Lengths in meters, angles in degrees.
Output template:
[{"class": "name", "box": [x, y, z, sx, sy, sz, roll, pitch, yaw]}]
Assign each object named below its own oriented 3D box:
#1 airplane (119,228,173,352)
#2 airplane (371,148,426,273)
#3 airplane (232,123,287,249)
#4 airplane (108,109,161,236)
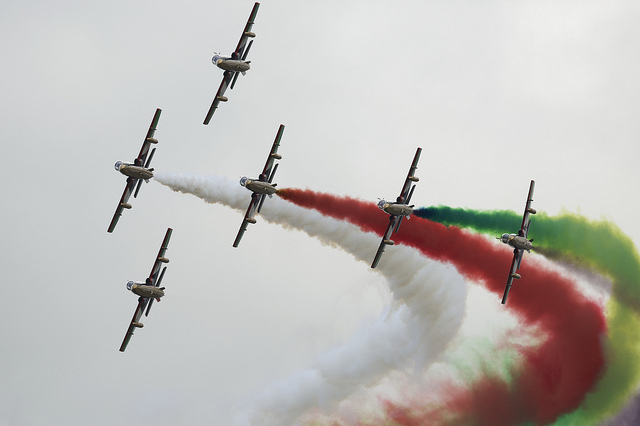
[{"class": "airplane", "box": [-19.428, 8.020, 98.020, 4.093, 14.123, 6.381, 25, -12, -22]}, {"class": "airplane", "box": [8.443, 0.517, 96.844, 8.262, 14.114, 5.593, 3, -2, -27]}, {"class": "airplane", "box": [-6.407, -2.697, 93.999, 7.855, 16.012, 5.810, 3, -3, -36]}, {"class": "airplane", "box": [-19.627, -4.157, 94.881, 3.292, 13.850, 7.609, 16, 1, -12]}]
